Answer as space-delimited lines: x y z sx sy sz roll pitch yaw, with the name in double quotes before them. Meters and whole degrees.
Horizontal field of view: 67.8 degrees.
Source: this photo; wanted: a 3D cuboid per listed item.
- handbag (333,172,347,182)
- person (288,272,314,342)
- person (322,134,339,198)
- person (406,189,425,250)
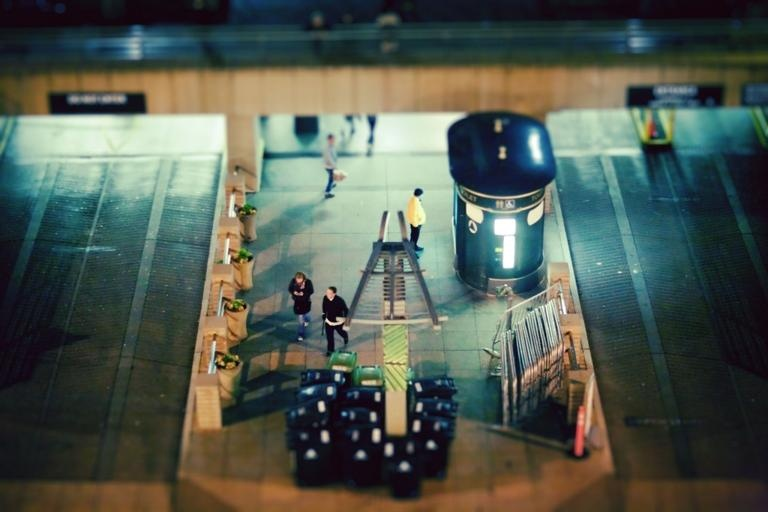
"handbag" -1.237 -2.251 16.003 0.279 0.220 0.232 6 43 6
"person" -1.822 1.044 12.812 0.498 1.808 0.735 -9 25 -9
"person" -1.518 -2.489 15.765 0.382 1.809 0.718 -11 25 -13
"person" 0.807 -0.881 14.602 0.590 1.653 0.698 -12 55 -5
